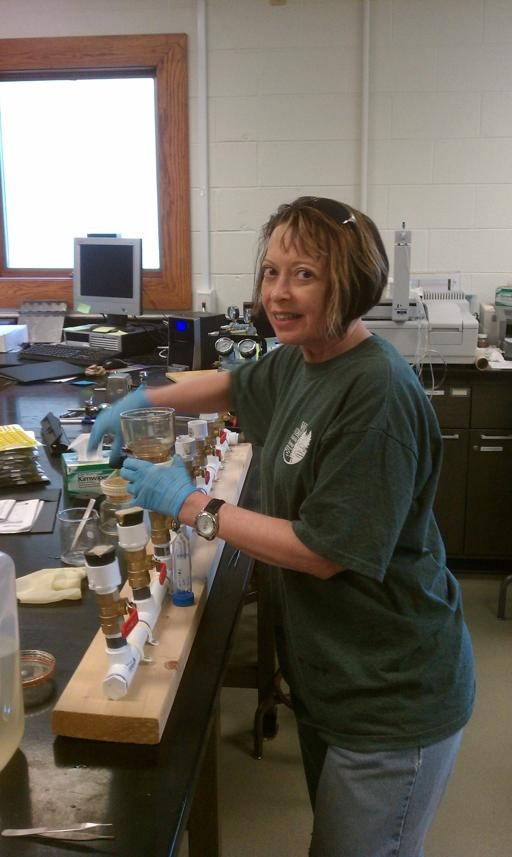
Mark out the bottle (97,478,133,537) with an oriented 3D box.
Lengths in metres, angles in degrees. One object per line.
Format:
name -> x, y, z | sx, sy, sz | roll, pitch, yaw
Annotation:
bottle -> -0.255, 0.146, 1.206 | 0.058, 0.089, 0.062 | -1, 3, 0

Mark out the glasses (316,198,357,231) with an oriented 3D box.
glasses -> 0.106, -0.286, 0.864 | 0.058, 0.041, 0.049 | 7, 10, 10

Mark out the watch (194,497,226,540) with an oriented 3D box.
watch -> -0.058, 0.126, 0.906 | 0.032, 0.059, 0.056 | 22, 4, 10

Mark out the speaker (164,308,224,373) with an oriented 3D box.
speaker -> -0.282, -0.402, 2.922 | 0.191, 0.384, 0.288 | 13, 21, 36

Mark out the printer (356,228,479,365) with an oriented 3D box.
printer -> 0.671, -0.677, 3.015 | 0.570, 0.656, 0.622 | 1, 18, 6

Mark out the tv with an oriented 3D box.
tv -> -0.777, -0.799, 3.445 | 0.391, 0.429, 0.044 | 4, 10, 25
